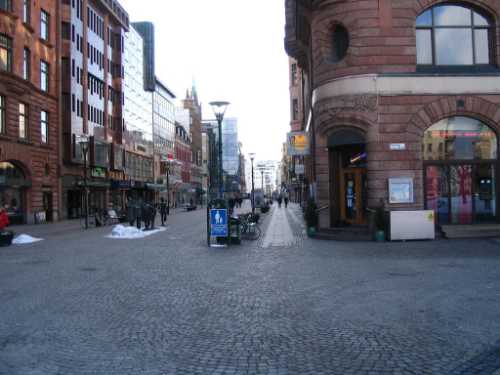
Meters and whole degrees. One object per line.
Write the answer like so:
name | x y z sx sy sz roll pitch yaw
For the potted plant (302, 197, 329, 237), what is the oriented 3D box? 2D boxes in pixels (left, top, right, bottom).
potted plant | 2.844 1.360 22.544 0.611 1.311 1.355 -2 -3 -41

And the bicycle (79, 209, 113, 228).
bicycle | -11.115 2.221 35.609 1.975 1.428 1.112 -3 1 -4

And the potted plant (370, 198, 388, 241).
potted plant | 5.310 1.302 20.244 0.640 1.456 0.793 -4 -2 15

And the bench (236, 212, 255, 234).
bench | -0.105 1.613 23.016 1.048 0.760 0.559 -2 -7 -22
